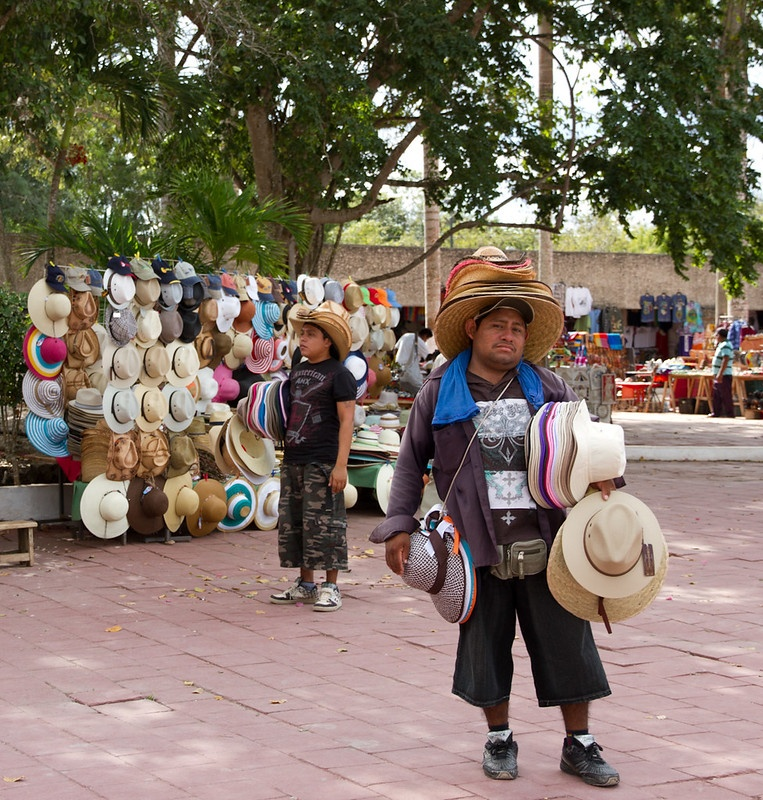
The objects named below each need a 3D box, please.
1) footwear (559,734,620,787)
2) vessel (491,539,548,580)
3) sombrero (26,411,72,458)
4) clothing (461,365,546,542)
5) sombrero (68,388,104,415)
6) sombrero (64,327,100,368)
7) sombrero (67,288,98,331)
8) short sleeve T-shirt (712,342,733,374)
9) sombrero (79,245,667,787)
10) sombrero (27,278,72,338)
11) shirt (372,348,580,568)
[{"bbox_3d":[0.732,1.266,3.328,0.112,0.144,0.232,-1,1,-24],"label":"footwear"},{"bbox_3d":[0.513,0.574,3.368,0.141,0.165,0.068,2,32,-13],"label":"vessel"},{"bbox_3d":[-2.860,0.308,8.109,0.438,0.365,0.153,10,-22,-42],"label":"sombrero"},{"bbox_3d":[0.440,0.220,3.373,0.468,0.510,0.193,-2,-2,7],"label":"clothing"},{"bbox_3d":[-2.512,0.005,8.077,0.299,0.097,0.231,13,18,17],"label":"sombrero"},{"bbox_3d":[-2.544,-0.439,8.058,0.299,0.313,0.153,5,-10,-31],"label":"sombrero"},{"bbox_3d":[-2.516,-0.753,7.974,0.145,0.292,0.262,-8,-6,25],"label":"sombrero"},{"bbox_3d":[8.204,-1.007,22.738,0.408,0.777,1.342,0,1,18],"label":"short sleeve T-shirt"},{"bbox_3d":[0.509,0.367,3.515,1.039,1.955,0.601,0,2,20],"label":"sombrero"},{"bbox_3d":[-2.731,-0.749,7.771,0.186,0.431,0.476,-7,-16,39],"label":"sombrero"},{"bbox_3d":[0.420,0.221,3.587,1.049,0.723,0.345,-5,4,16],"label":"shirt"}]
